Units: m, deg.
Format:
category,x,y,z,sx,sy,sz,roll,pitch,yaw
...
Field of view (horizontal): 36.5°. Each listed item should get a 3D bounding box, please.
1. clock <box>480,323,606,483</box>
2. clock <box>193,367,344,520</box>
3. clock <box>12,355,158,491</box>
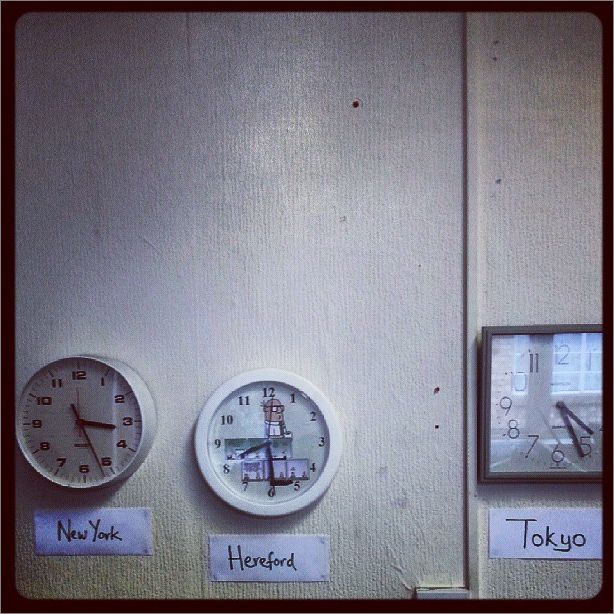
category,x,y,z,sx,sy,sz,roll,pitch,yaw
clock,0.518,0.210,2.004,0.015,0.327,0.352,-2,-5,-31
clock,-0.086,0.292,2.013,0.333,0.304,0.047,-3,-6,21
clock,-0.466,0.249,1.994,0.388,0.351,0.071,0,-8,0
